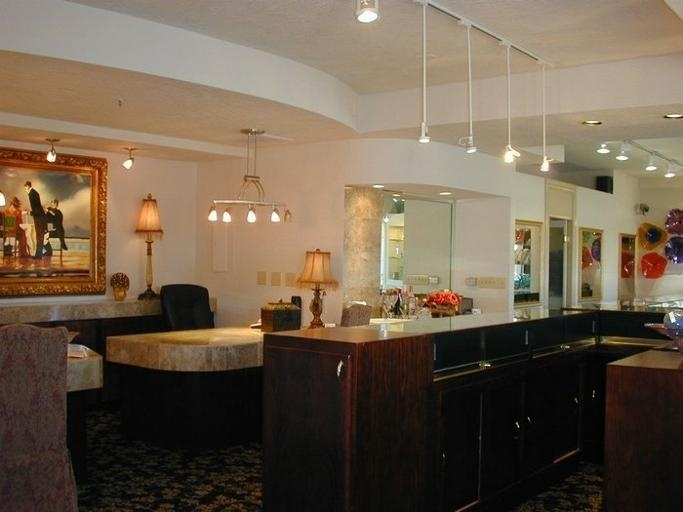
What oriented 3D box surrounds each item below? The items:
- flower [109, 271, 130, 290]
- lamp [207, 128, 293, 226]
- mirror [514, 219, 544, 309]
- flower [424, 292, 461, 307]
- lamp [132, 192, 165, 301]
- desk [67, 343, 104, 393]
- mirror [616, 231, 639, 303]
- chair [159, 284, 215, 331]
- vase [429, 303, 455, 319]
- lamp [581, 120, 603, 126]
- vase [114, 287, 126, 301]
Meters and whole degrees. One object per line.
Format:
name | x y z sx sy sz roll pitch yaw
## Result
flower | -2.692 0.325 7.140 0.185 0.220 0.221 1 2 -6
lamp | -1.041 -0.906 7.097 1.007 1.052 1.005 -1 6 -28
mirror | 2.541 0.104 7.982 0.400 1.157 1.245 0 -1 28
flower | 1.282 0.510 7.197 0.226 0.114 0.293 -2 -3 41
lamp | -2.422 -0.135 7.356 0.377 1.271 0.703 -6 7 -16
desk | -1.834 0.811 4.190 0.421 0.193 0.294 2 1 43
mirror | 5.515 0.201 11.322 0.107 1.555 1.345 3 3 33
chair | -1.711 0.574 6.483 0.446 0.641 0.540 1 -3 -42
vase | 1.223 0.668 7.118 0.305 0.108 0.227 2 2 24
lamp | 2.381 -1.254 5.542 0.159 0.044 0.244 -1 7 22
vase | -2.673 0.468 7.093 0.162 0.124 0.152 2 -1 3
